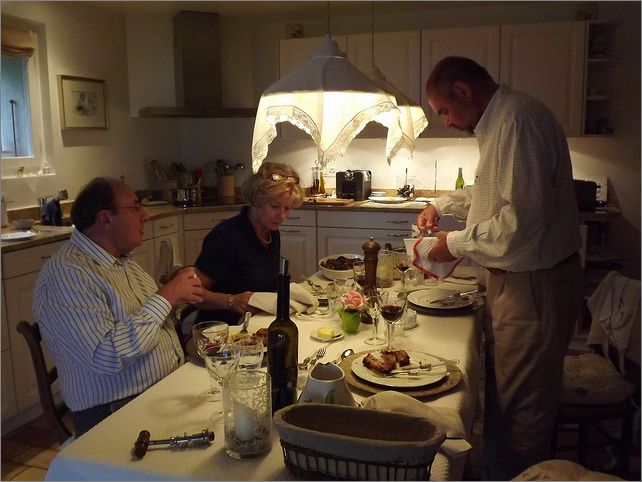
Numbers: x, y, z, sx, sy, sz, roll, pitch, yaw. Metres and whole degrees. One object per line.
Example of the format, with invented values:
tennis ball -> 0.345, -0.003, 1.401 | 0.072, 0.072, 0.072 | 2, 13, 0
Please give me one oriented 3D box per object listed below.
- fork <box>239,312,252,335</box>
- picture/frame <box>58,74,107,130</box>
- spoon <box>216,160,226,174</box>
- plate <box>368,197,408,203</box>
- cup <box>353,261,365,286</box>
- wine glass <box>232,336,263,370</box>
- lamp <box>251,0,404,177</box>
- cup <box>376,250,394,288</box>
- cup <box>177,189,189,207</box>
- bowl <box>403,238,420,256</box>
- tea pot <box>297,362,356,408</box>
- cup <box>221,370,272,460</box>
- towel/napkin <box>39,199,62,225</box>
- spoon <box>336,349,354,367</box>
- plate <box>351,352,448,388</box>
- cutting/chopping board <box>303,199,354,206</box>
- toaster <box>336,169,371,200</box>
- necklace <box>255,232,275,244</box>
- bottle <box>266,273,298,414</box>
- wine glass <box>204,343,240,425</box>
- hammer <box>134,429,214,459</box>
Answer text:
fork -> -0.281, 0.305, 1.864 | 0.038, 0.079, 0.015 | 11, 14, 10
picture/frame -> -2.076, -1.202, 4.378 | 0.477, 0.428, 0.023 | 7, 14, 15
spoon -> -1.041, -0.771, 5.214 | 0.094, 0.129, 0.123 | -6, 43, -3
plate -> 0.620, -0.391, 4.686 | 0.374, 0.039, 0.327 | 1, 12, 14
cup -> 0.196, 0.152, 2.372 | 0.075, 0.089, 0.084 | 0, -2, 7
wine glass -> -0.219, 0.338, 1.516 | 0.119, 0.101, 0.118 | -1, -8, -12
lamp -> 0.003, -0.552, 1.973 | 0.557, 0.775, 0.512 | -2, 9, -6
cup -> 0.330, 0.148, 2.566 | 0.146, 0.183, 0.159 | 1, 3, 0
cup -> -1.325, -0.417, 4.838 | 0.114, 0.195, 0.200 | -1, -3, -3
bowl -> 0.394, 0.026, 2.230 | 0.071, 0.089, 0.072 | 0, -2, 0
tea pot -> 0.014, 0.383, 1.398 | 0.101, 0.133, 0.135 | 1, 1, 5
cup -> -0.189, 0.445, 1.303 | 0.134, 0.207, 0.119 | -4, 11, -12
towel/napkin -> -2.030, -0.215, 3.760 | 0.165, 0.213, 0.117 | 8, 10, 24
spoon -> 0.079, 0.410, 1.741 | 0.018, 0.114, 0.023 | -2, 37, -46
plate -> 0.250, 0.413, 1.683 | 0.224, 0.016, 0.234 | -5, 20, 2
cutting/chopping board -> 0.076, -0.368, 4.685 | 0.459, 0.046, 0.377 | -1, 11, 5
toaster -> 0.278, -0.528, 4.940 | 0.303, 0.308, 0.399 | 0, -2, 13
necklace -> -0.275, -0.021, 2.574 | 0.056, 0.028, 0.076 | -9, 13, -22
bottle -> -0.107, 0.279, 1.374 | 0.083, 0.386, 0.050 | -4, 11, -9
wine glass -> -0.291, 0.424, 1.506 | 0.123, 0.213, 0.116 | -5, -2, -1
hammer -> -0.387, 0.530, 1.320 | 0.150, 0.037, 0.082 | -5, 7, -1
